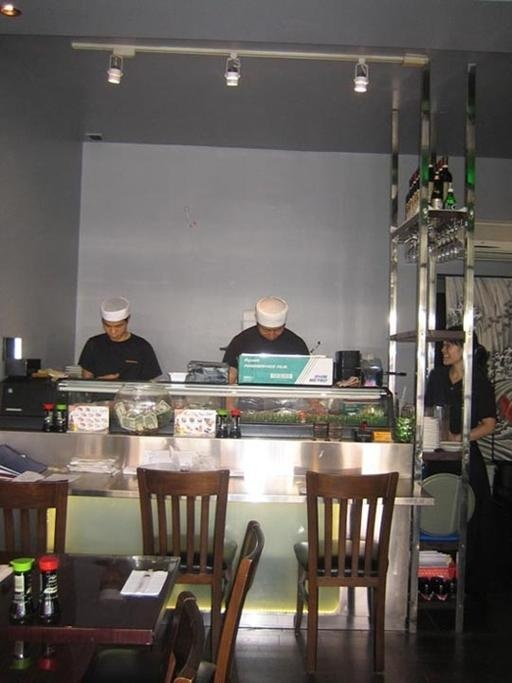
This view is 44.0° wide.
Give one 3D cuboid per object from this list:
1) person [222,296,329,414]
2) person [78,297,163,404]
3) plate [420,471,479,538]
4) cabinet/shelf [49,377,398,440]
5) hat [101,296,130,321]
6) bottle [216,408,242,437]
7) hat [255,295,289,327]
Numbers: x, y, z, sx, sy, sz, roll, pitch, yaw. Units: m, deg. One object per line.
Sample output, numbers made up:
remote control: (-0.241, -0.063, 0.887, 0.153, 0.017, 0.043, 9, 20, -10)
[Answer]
person: (0.060, 0.120, 4.090, 0.582, 0.760, 0.417, 3, 17, -9)
person: (-0.934, 0.094, 4.213, 0.582, 0.753, 0.376, 4, 20, 3)
plate: (0.906, 0.767, 2.929, 0.313, 0.304, 0.073, 7, 6, -5)
cabinet/shelf: (-0.111, 0.325, 2.970, 1.575, 0.309, 0.242, 1, 7, -11)
hat: (-0.877, -0.193, 3.946, 0.159, 0.154, 0.133, 3, 4, -16)
bottle: (-0.130, 0.374, 3.014, 0.124, 0.129, 0.190, 4, 4, -3)
hat: (0.083, -0.164, 3.641, 0.165, 0.175, 0.215, 4, 4, 0)
